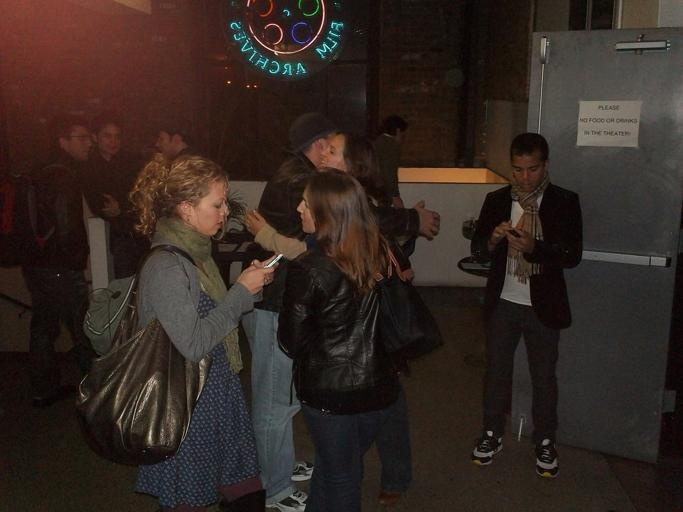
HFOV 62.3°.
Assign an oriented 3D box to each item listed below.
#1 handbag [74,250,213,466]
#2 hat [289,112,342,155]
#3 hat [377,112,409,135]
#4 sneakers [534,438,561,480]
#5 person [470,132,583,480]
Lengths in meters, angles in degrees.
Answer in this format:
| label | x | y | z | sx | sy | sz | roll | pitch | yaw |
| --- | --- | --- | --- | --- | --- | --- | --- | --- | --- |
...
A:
| label | x | y | z | sx | sy | sz | roll | pitch | yaw |
| --- | --- | --- | --- | --- | --- | --- | --- | --- | --- |
| handbag | -0.942 | 0.254 | 2.706 | 0.594 | 0.585 | 0.350 | -4 | 3 | -11 |
| hat | -0.146 | -0.738 | 3.282 | 0.204 | 0.124 | 0.262 | -38 | 6 | 29 |
| hat | 0.603 | -1.532 | 6.493 | 0.222 | 0.284 | 0.286 | 11 | 17 | 37 |
| sneakers | 1.307 | 1.286 | 3.593 | 0.105 | 0.119 | 0.269 | -2 | 18 | 8 |
| person | 1.142 | 0.300 | 3.624 | 0.651 | 2.115 | 0.511 | 6 | 16 | 22 |
